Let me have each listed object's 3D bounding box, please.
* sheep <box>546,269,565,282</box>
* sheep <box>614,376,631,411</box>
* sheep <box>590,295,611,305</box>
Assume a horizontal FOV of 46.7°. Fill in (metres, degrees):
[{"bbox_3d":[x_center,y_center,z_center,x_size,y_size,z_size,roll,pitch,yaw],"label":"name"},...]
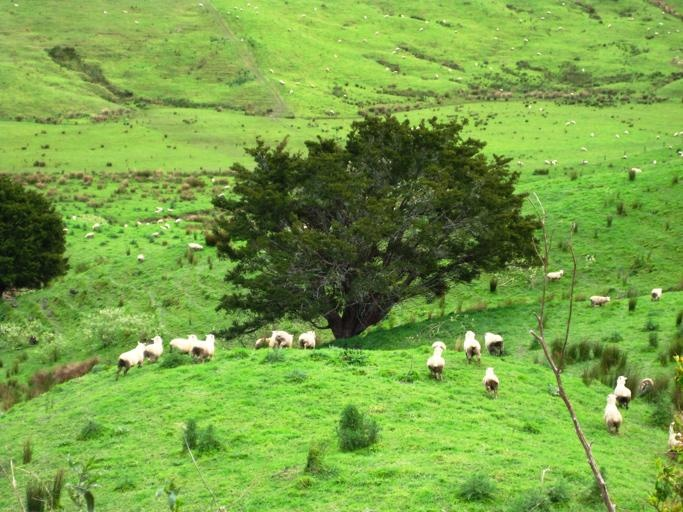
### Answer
[{"bbox_3d":[12.839,1.202,47.454,0.786,0.703,2.231,0,10,23],"label":"sheep"},{"bbox_3d":[12.721,6.202,35.907,0.663,1.352,1.758,3,-5,13],"label":"sheep"},{"bbox_3d":[14.267,2.465,43.290,1.332,0.687,0.418,1,2,9],"label":"sheep"}]
